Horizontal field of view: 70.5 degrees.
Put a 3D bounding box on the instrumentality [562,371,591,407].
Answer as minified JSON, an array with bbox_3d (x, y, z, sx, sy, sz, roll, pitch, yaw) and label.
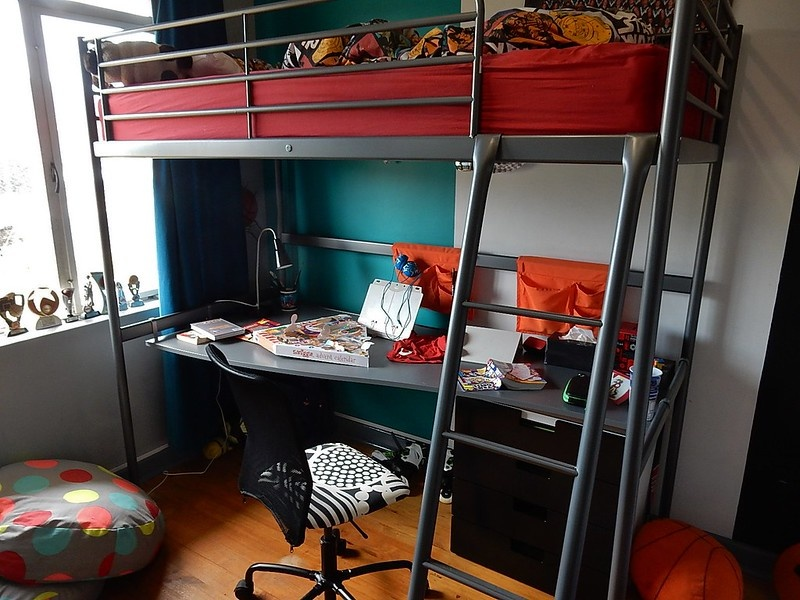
[{"bbox_3d":[0.699,0.345,2.229,0.111,0.026,0.108,-4,32,25],"label":"instrumentality"}]

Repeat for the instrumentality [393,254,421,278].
[{"bbox_3d":[0.043,-0.167,2.917,0.093,0.054,0.132,39,3,33],"label":"instrumentality"}]

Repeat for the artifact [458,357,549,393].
[{"bbox_3d":[0.428,0.330,2.384,0.229,0.060,0.169,-4,14,-3],"label":"artifact"}]
